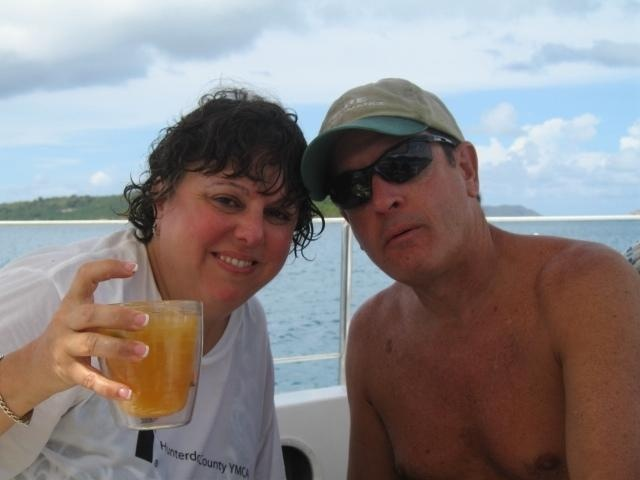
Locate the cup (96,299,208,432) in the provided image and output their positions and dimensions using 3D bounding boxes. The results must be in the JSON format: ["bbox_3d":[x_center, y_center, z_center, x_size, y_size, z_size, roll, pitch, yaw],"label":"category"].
[{"bbox_3d":[-0.507,0.470,2.625,0.404,0.471,0.434,-1,-12,0],"label":"cup"}]

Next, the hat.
[{"bbox_3d":[0.280,-0.459,3.097,0.465,0.332,0.628,-29,-26,35],"label":"hat"}]
